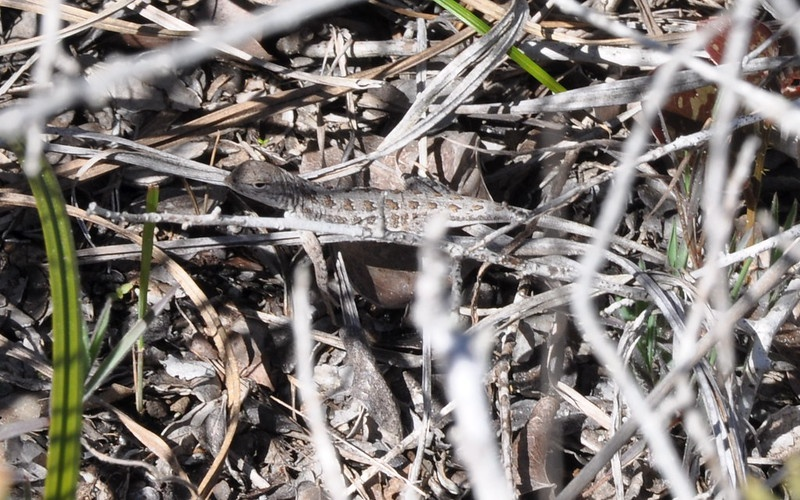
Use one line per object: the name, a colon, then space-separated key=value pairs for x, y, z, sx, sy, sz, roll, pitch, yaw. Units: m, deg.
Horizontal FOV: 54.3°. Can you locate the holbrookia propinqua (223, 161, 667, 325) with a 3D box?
holbrookia propinqua: x=0.122 y=-0.012 z=2.995 sx=1.546 sy=0.640 sz=0.439 roll=-1 pitch=1 yaw=-6
